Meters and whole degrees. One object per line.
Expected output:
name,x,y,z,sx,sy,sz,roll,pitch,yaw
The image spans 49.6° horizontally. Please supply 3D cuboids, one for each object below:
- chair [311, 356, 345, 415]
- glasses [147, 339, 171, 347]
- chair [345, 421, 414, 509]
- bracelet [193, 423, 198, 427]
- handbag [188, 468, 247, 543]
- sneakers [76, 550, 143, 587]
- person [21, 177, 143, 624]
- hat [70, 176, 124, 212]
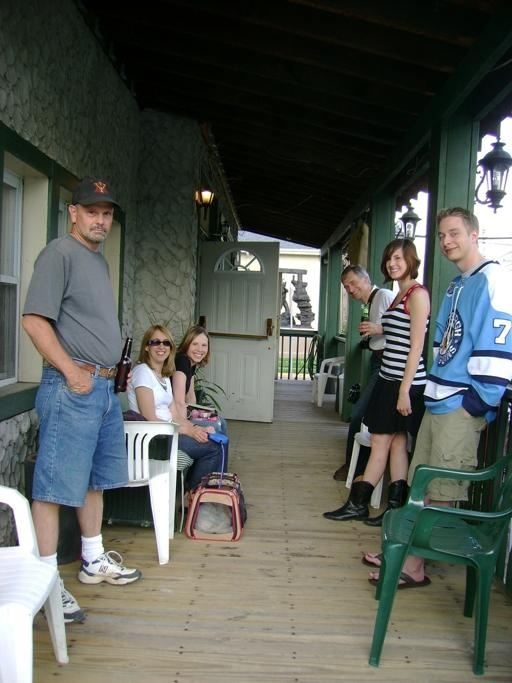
chair,1.163,0.564,7.881,0.616,0.887,0.639,1,-1,-4
glasses,-0.530,0.005,3.057,0.129,0.041,0.058,2,3,-15
chair,0.784,0.810,3.783,0.479,0.622,0.481,7,5,13
bracelet,-0.384,0.526,3.523,0.029,0.007,0.029,4,4,-10
handbag,-0.212,0.887,3.014,0.318,0.299,0.298,2,3,-1
sneakers,-0.620,0.984,2.408,0.308,0.157,0.112,2,-6,-3
person,-0.669,0.197,2.164,0.274,1.670,0.482,3,4,19
hat,-0.647,-0.588,2.191,0.115,0.085,0.162,-2,9,-38
